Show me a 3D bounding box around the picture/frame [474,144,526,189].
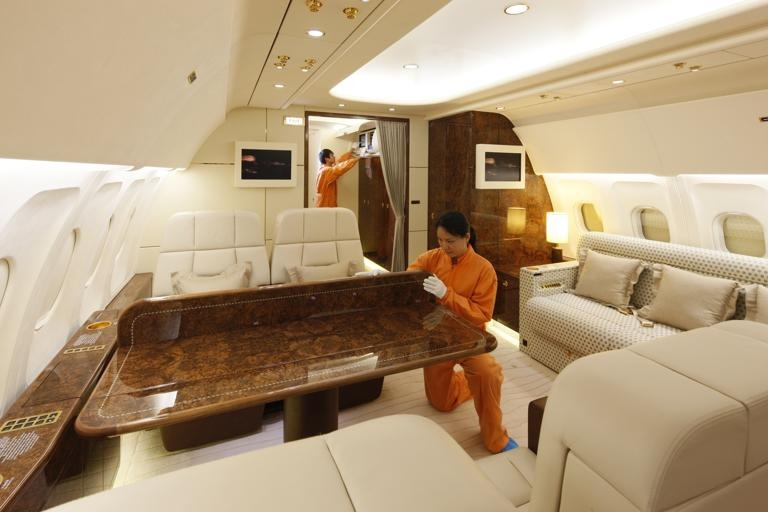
[{"bbox_3d":[1.451,-1.168,5.805,0.581,0.497,0.077,-2,5,-21],"label":"picture/frame"}]

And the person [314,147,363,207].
[{"bbox_3d":[-0.695,-1.053,6.847,0.670,1.056,0.586,-21,31,-36],"label":"person"}]

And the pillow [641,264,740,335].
[{"bbox_3d":[2.340,0.323,3.439,0.199,0.382,0.526,7,-1,-27],"label":"pillow"}]

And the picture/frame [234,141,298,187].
[{"bbox_3d":[-1.480,-1.137,5.546,0.591,0.444,0.024,-1,5,-26],"label":"picture/frame"}]

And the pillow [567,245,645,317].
[{"bbox_3d":[2.130,0.250,4.309,0.209,0.436,0.580,38,-15,-31],"label":"pillow"}]

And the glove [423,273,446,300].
[{"bbox_3d":[0.333,0.204,3.019,0.123,0.166,0.070,-37,-8,0],"label":"glove"}]
